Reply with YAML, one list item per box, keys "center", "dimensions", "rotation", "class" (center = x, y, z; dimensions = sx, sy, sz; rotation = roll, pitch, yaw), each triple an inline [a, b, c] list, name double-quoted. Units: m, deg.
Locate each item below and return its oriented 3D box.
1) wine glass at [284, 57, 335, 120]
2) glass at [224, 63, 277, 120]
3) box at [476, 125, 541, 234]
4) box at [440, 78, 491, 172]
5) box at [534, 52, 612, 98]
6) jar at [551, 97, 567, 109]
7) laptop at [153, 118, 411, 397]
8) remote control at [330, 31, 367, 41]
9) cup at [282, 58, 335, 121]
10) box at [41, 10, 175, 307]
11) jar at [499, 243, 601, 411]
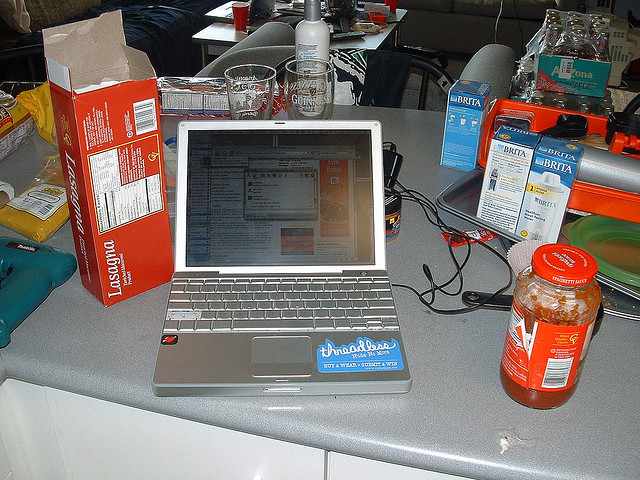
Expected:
- center: [-0.024, -0.346, 1.153]
  dimensions: [0.110, 0.124, 0.188]
  rotation: [-1, 33, -2]
  class: "wine glass"
- center: [-0.164, -0.326, 1.162]
  dimensions: [0.111, 0.119, 0.108]
  rotation: [-6, 11, -23]
  class: "glass"
- center: [0.389, -0.112, 0.978]
  dimensions: [0.072, 0.188, 0.097]
  rotation: [-25, 35, -35]
  class: "box"
- center: [0.365, -0.270, 1.175]
  dimensions: [0.099, 0.194, 0.109]
  rotation: [21, 39, 31]
  class: "box"
- center: [0.674, -0.490, 1.408]
  dimensions: [0.208, 0.119, 0.249]
  rotation: [13, 33, 19]
  class: "box"
- center: [0.592, -0.337, 1.222]
  dimensions: [0.036, 0.037, 0.043]
  rotation: [12, 40, 16]
  class: "jar"
- center: [-0.062, 0.008, 0.783]
  dimensions: [0.368, 0.277, 0.387]
  rotation: [-1, 33, -3]
  class: "laptop"
- center: [0.149, -1.158, 2.819]
  dimensions: [0.256, 0.029, 0.083]
  rotation: [-21, 39, -30]
  class: "remote control"
- center: [-0.022, -0.350, 1.183]
  dimensions: [0.109, 0.152, 0.093]
  rotation: [-3, 33, -7]
  class: "cup"
- center: [-0.340, -0.120, 0.791]
  dimensions: [0.184, 0.422, 0.155]
  rotation: [-21, 39, -29]
  class: "box"
- center: [0.316, 0.126, 0.682]
  dimensions: [0.103, 0.211, 0.099]
  rotation: [3, 22, -1]
  class: "jar"
